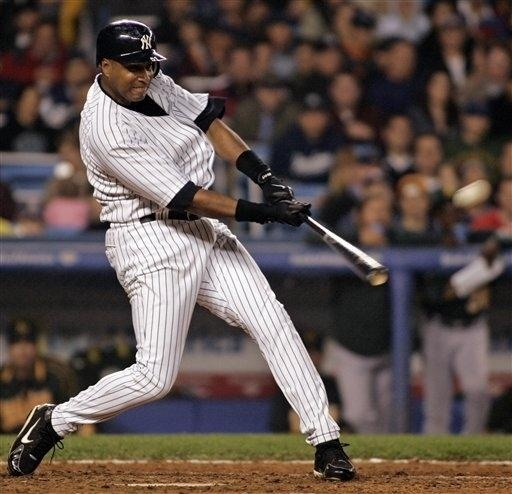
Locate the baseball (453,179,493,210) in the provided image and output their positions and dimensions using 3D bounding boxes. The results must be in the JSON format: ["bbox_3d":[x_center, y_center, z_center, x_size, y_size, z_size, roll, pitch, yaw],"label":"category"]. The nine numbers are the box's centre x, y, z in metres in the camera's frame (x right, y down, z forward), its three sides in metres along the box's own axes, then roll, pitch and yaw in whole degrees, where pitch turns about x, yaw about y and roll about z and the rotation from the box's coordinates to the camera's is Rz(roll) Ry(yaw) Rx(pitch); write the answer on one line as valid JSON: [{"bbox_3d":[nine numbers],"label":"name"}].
[{"bbox_3d":[0.986,-0.241,4.730,0.171,0.062,0.154,-22,-3,-20],"label":"baseball"}]

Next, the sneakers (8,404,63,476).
[{"bbox_3d":[-0.792,0.679,3.756,0.182,0.108,0.318,-7,34,12],"label":"sneakers"}]

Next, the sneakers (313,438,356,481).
[{"bbox_3d":[0.269,0.747,3.635,0.142,0.141,0.173,-4,5,1],"label":"sneakers"}]

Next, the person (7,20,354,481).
[{"bbox_3d":[-0.317,0.017,3.668,1.190,1.636,0.377,-4,7,3],"label":"person"}]

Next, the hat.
[{"bbox_3d":[-0.446,-0.705,3.536,0.238,0.094,0.164,4,8,34],"label":"hat"}]

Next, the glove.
[{"bbox_3d":[0.039,-0.188,3.577,0.325,0.096,0.255,18,42,-3],"label":"glove"}]
